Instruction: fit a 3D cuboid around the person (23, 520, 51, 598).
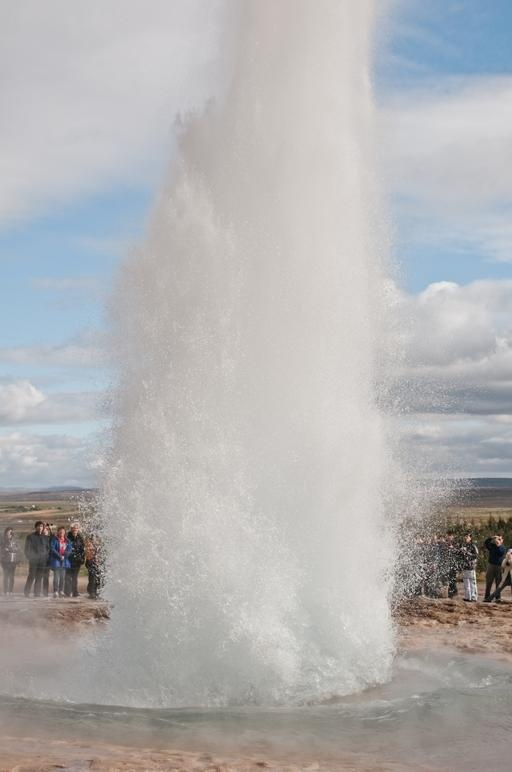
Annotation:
[{"bbox_3d":[-4.762,3.797,20.282,0.510,1.644,1.429,3,-6,-13],"label":"person"}]
